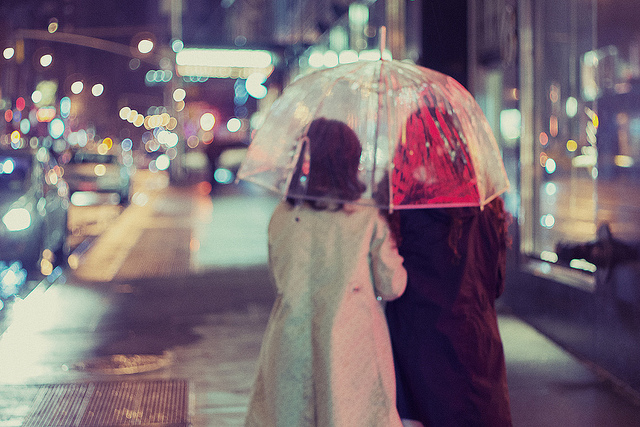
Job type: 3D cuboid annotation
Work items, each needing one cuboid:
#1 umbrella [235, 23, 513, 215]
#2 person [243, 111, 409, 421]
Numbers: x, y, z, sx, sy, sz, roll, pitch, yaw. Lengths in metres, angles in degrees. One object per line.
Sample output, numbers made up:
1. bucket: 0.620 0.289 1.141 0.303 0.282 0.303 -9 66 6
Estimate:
1. umbrella: 0.595 -0.856 7.300 2.595 1.442 2.839 -2 8 -25
2. person: 0.094 0.505 6.063 1.235 2.620 0.595 0 8 -7
